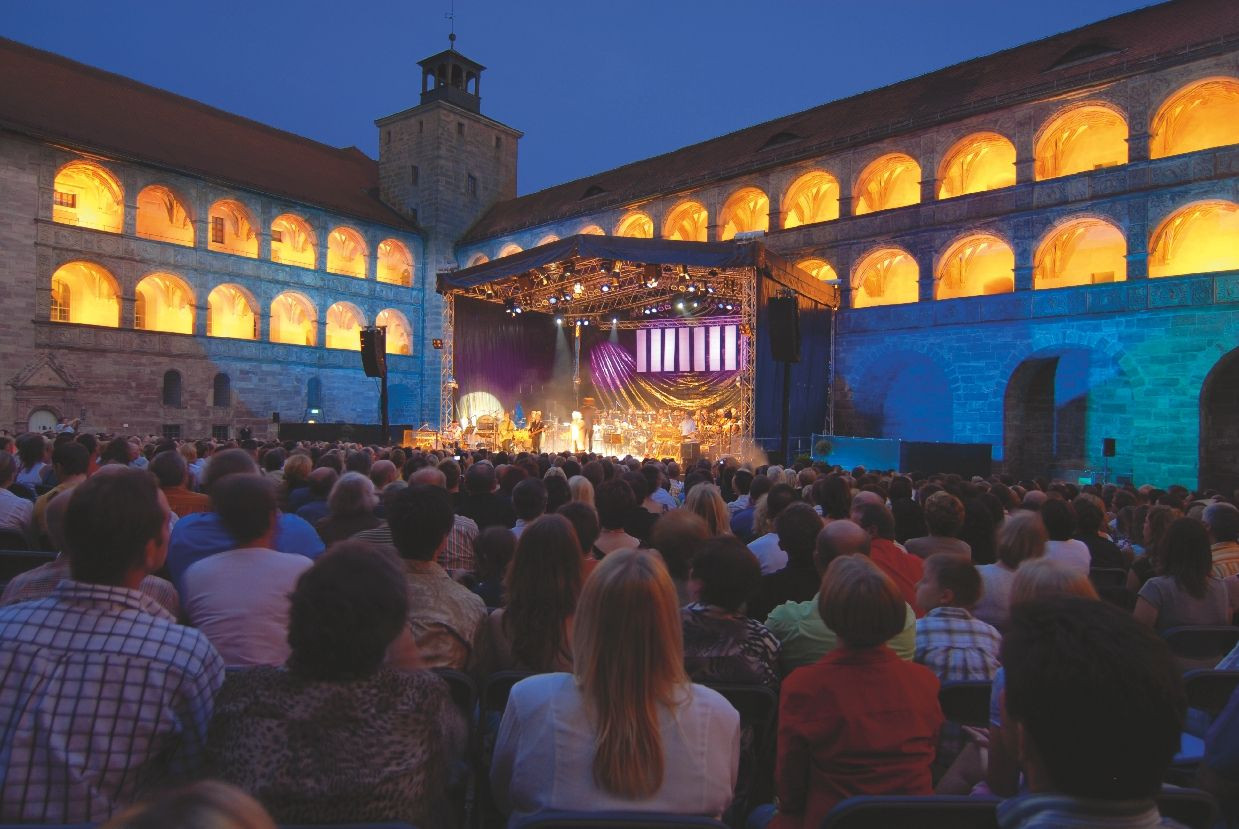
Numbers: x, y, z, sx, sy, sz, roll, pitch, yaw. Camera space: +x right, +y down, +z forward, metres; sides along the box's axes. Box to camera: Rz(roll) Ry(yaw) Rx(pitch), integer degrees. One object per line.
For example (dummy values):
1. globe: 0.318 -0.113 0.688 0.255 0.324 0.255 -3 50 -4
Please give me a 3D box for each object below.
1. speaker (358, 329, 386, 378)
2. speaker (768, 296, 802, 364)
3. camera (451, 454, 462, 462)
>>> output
1. speaker: -7.456 -1.933 32.698 0.684 1.625 2.374 2 -2 -10
2. speaker: 3.794 -1.962 24.980 0.660 1.604 0.326 1 -2 25
3. camera: -3.255 0.885 21.861 0.169 0.114 0.172 5 -6 -43
